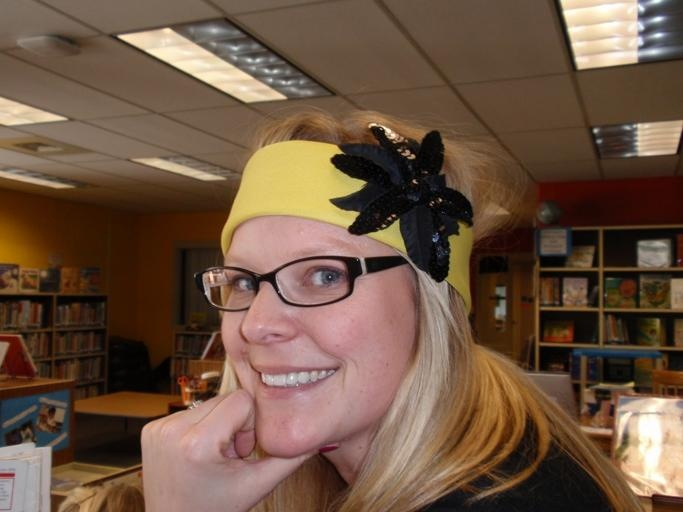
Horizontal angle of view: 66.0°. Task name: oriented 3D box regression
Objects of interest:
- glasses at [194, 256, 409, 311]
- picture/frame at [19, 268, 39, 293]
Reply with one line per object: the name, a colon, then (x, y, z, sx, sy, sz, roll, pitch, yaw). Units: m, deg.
glasses: (-0.149, 0.065, 1.254, 0.565, 0.137, 0.236, 0, 5, 37)
picture/frame: (-4.734, 0.377, 7.888, 0.062, 0.403, 0.383, -4, -4, 39)
